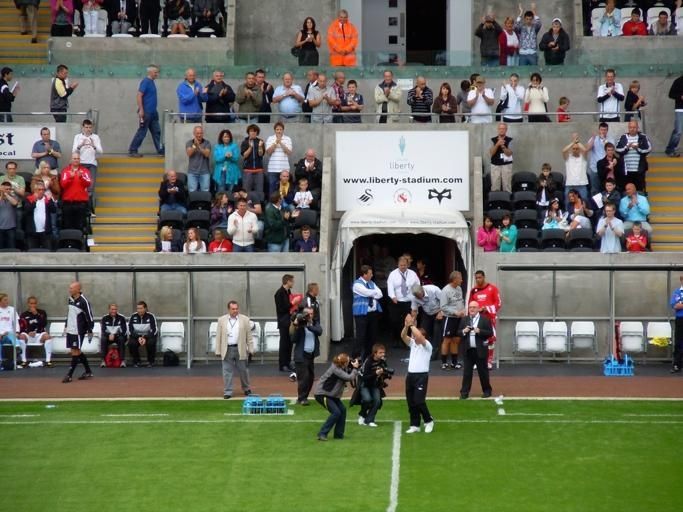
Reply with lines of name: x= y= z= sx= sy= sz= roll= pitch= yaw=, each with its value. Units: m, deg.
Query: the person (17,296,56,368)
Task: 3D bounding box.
person: x=-9.645 y=2.393 z=61.013 sx=0.883 sy=2.252 sz=0.913 roll=0 pitch=0 yaw=-10

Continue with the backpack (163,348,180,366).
backpack: x=-5.355 y=3.204 z=60.847 sx=0.494 sy=0.528 sz=0.379 roll=0 pitch=1 yaw=-7

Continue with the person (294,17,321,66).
person: x=-1.279 y=-7.512 z=68.536 sx=0.879 sy=1.686 sz=1.561 roll=-2 pitch=7 yaw=-1

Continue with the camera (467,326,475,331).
camera: x=3.695 y=2.091 z=56.252 sx=0.174 sy=0.116 sz=0.052 roll=-2 pitch=7 yaw=3

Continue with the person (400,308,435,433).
person: x=2.007 y=3.211 z=54.131 sx=0.722 sy=3.172 sz=1.015 roll=4 pitch=5 yaw=9

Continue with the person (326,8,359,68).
person: x=-0.014 y=-7.564 z=68.837 sx=0.673 sy=2.347 sz=0.784 roll=-6 pitch=9 yaw=-32

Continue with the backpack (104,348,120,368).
backpack: x=-7.158 y=3.189 z=60.617 sx=0.395 sy=0.576 sz=0.200 roll=1 pitch=0 yaw=-17

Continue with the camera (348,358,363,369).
camera: x=0.338 y=3.010 z=54.282 sx=0.332 sy=0.187 sz=0.471 roll=2 pitch=-2 yaw=-4

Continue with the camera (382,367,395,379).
camera: x=1.261 y=3.253 z=53.853 sx=0.244 sy=0.368 sz=0.538 roll=-1 pitch=8 yaw=6

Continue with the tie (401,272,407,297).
tie: x=1.904 y=0.909 z=60.104 sx=0.190 sy=0.726 sz=0.074 roll=-2 pitch=7 yaw=-3

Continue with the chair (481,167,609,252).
chair: x=6.585 y=-1.396 z=62.792 sx=3.067 sy=2.295 sz=1.689 roll=-1 pitch=8 yaw=9

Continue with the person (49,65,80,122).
person: x=-9.582 y=-5.474 z=66.718 sx=0.814 sy=2.363 sz=0.973 roll=1 pitch=1 yaw=12

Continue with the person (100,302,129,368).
person: x=-7.112 y=2.463 z=60.515 sx=0.826 sy=1.967 sz=0.563 roll=-3 pitch=7 yaw=-8

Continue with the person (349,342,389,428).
person: x=0.803 y=3.594 z=54.145 sx=0.865 sy=2.380 sz=1.022 roll=-3 pitch=9 yaw=-43

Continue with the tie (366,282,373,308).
tie: x=0.844 y=1.208 z=58.753 sx=0.169 sy=0.724 sz=0.258 roll=-2 pitch=7 yaw=1
